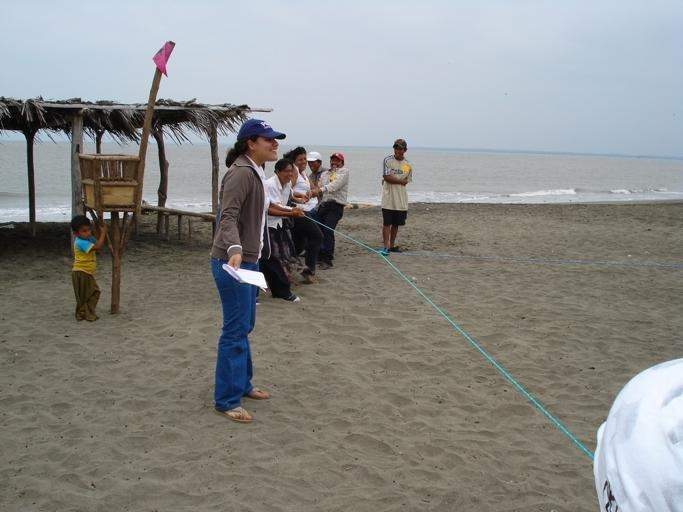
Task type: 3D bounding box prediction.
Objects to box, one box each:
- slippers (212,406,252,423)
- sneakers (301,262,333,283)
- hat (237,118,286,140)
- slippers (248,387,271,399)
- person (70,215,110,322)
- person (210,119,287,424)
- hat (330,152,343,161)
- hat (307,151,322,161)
[{"bbox_3d":[-0.932,1.363,5.431,0.281,0.091,0.116,1,7,13],"label":"slippers"},{"bbox_3d":[-0.372,0.258,9.382,0.194,0.198,0.531,1,8,16],"label":"sneakers"},{"bbox_3d":[-0.679,-1.057,5.266,0.330,0.178,0.259,7,12,20],"label":"hat"},{"bbox_3d":[-0.750,1.265,5.810,0.205,0.069,0.101,-1,16,6],"label":"slippers"},{"bbox_3d":[-3.019,0.126,7.496,0.366,1.208,0.541,0,13,-13],"label":"person"},{"bbox_3d":[-0.839,0.149,5.219,0.460,2.544,0.768,4,13,4],"label":"person"},{"bbox_3d":[-0.064,-1.658,10.205,0.159,0.094,0.209,10,-3,17],"label":"hat"},{"bbox_3d":[-0.459,-1.669,10.519,0.232,0.138,0.302,2,5,17],"label":"hat"}]
